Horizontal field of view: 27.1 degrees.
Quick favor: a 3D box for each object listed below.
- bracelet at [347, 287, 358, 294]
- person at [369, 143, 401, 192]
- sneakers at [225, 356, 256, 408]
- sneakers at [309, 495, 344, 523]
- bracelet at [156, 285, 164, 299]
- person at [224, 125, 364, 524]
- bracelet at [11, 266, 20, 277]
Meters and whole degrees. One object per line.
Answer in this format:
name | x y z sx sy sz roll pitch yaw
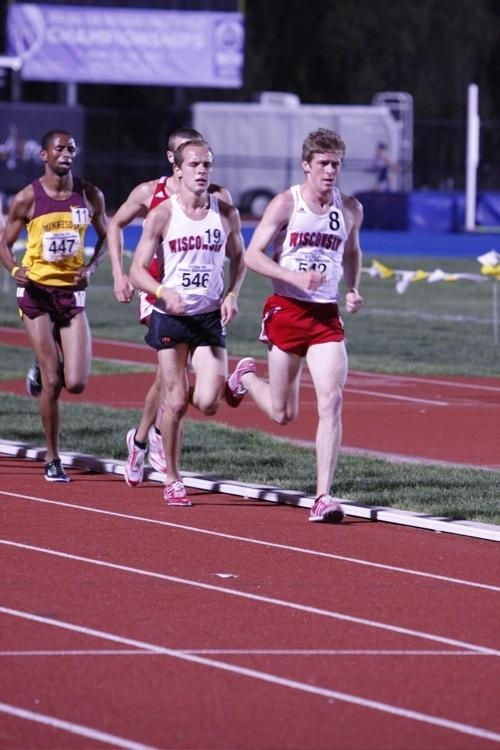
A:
bracelet | 0.504 -0.416 5.059 0.036 0.040 0.040 10 2 37
person | 3.524 -5.494 27.056 0.684 1.315 0.925 2 6 6
sneakers | -0.075 0.056 5.898 0.123 0.340 0.136 -11 51 -27
sneakers | 0.357 0.638 4.929 0.090 0.100 0.213 4 -12 -22
bracelet | -0.420 -0.392 4.810 0.013 0.047 0.048 5 -17 15
person | 0.256 -0.243 5.041 0.546 1.875 1.040 2 6 5
bracelet | -1.268 -0.555 5.581 0.022 0.055 0.049 22 20 -14
